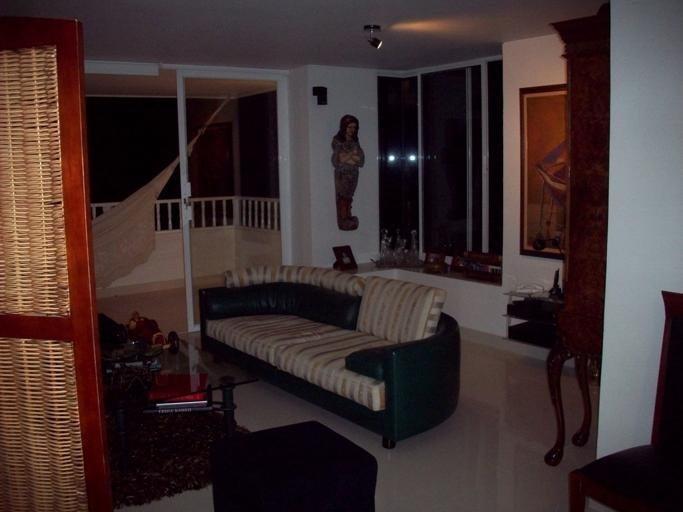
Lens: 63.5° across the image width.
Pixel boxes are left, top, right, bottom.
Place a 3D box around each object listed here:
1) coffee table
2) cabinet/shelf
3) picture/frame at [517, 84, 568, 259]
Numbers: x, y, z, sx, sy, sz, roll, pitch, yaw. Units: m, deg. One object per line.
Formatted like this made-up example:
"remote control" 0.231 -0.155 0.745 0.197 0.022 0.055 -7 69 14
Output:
"coffee table" -1.275 0.811 3.910 0.838 0.364 0.952 -3 20 -15
"cabinet/shelf" 1.684 0.539 4.755 0.526 0.408 0.300 -13 -8 14
"picture/frame" 1.836 -0.757 5.050 0.190 1.540 0.543 -4 11 -21
